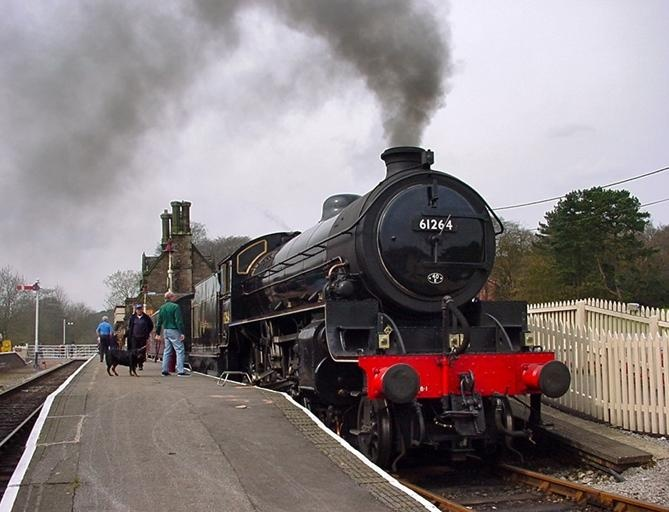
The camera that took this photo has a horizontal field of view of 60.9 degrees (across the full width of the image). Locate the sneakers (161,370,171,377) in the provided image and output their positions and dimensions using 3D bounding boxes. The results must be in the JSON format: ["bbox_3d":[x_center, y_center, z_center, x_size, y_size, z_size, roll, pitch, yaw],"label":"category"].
[{"bbox_3d":[-3.609,2.505,12.191,0.129,0.167,0.375,2,-12,-15],"label":"sneakers"}]

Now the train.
[{"bbox_3d":[0.090,1.128,12.052,3.149,4.727,11.403,2,-6,-18],"label":"train"}]
